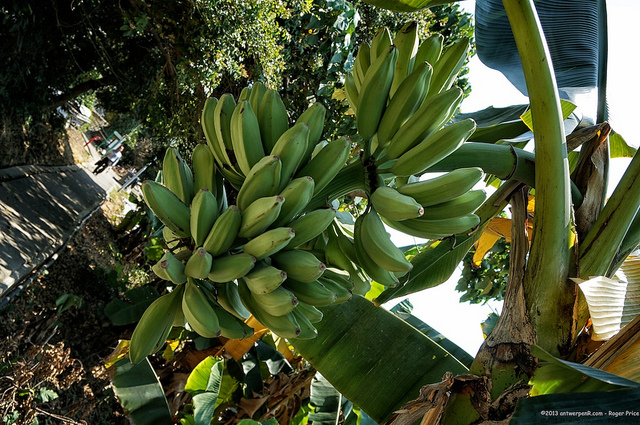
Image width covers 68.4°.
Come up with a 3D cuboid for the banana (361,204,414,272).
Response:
[{"bbox_3d":[0.326,0.126,2.402,0.082,0.126,0.324,-33,-97,34],"label":"banana"}]

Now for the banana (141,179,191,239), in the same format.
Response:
[{"bbox_3d":[-0.806,-0.037,2.540,0.091,0.171,0.496,58,-7,15],"label":"banana"}]

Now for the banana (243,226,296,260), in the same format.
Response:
[{"bbox_3d":[-0.252,0.150,2.448,0.308,0.107,0.110,-30,-24,3],"label":"banana"}]

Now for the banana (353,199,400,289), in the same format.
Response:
[{"bbox_3d":[0.290,0.165,2.441,0.103,0.162,0.457,-24,-90,39],"label":"banana"}]

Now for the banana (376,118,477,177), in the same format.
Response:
[{"bbox_3d":[0.534,-0.346,2.464,0.559,0.207,0.132,-36,-85,1],"label":"banana"}]

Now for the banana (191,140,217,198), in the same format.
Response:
[{"bbox_3d":[-0.667,-0.297,2.676,0.127,0.154,0.446,-1,1,-16],"label":"banana"}]

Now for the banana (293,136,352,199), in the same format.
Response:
[{"bbox_3d":[0.043,-0.312,2.610,0.174,0.199,0.544,16,-6,-19],"label":"banana"}]

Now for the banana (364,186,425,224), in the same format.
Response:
[{"bbox_3d":[0.384,-0.055,2.474,0.278,0.117,0.144,26,-73,23],"label":"banana"}]

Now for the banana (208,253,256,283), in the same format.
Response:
[{"bbox_3d":[-0.449,0.280,2.448,0.227,0.093,0.132,-16,-94,10],"label":"banana"}]

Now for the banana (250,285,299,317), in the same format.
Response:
[{"bbox_3d":[-0.264,0.458,2.485,0.310,0.136,0.105,5,-39,33],"label":"banana"}]

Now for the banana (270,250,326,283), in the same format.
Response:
[{"bbox_3d":[-0.157,0.274,2.510,0.375,0.148,0.121,14,-91,33],"label":"banana"}]

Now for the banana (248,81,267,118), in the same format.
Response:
[{"bbox_3d":[-0.352,-0.626,2.608,0.102,0.177,0.052,5,-5,-21],"label":"banana"}]

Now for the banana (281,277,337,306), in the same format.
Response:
[{"bbox_3d":[-0.057,0.419,2.550,0.356,0.134,0.123,10,-82,14],"label":"banana"}]

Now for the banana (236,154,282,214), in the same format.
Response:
[{"bbox_3d":[-0.306,-0.200,2.567,0.222,0.186,0.492,4,-14,-13],"label":"banana"}]

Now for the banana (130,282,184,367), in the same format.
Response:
[{"bbox_3d":[-0.850,0.577,2.497,0.164,0.529,0.158,20,-65,-3],"label":"banana"}]

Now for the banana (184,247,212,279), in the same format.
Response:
[{"bbox_3d":[-0.591,0.278,2.416,0.134,0.070,0.182,-2,-60,7],"label":"banana"}]

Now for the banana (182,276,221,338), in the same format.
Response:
[{"bbox_3d":[-0.627,0.506,2.472,0.353,0.118,0.127,59,-31,5],"label":"banana"}]

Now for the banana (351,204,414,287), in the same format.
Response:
[{"bbox_3d":[0.312,0.174,2.453,0.460,0.171,0.131,61,-32,3],"label":"banana"}]

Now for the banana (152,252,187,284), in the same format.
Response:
[{"bbox_3d":[-0.768,0.288,2.512,0.180,0.285,0.110,-21,-99,1],"label":"banana"}]

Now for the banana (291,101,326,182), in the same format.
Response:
[{"bbox_3d":[-0.064,-0.399,2.710,0.185,0.207,0.592,43,-20,8],"label":"banana"}]

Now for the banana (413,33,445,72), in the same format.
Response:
[{"bbox_3d":[0.614,-0.904,2.673,0.093,0.295,0.059,32,-4,0],"label":"banana"}]

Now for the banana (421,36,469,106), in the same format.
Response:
[{"bbox_3d":[0.711,-0.884,2.790,0.184,0.594,0.182,-8,-57,20],"label":"banana"}]

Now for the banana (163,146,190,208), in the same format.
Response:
[{"bbox_3d":[-0.769,-0.208,2.591,0.124,0.107,0.364,-25,-103,38],"label":"banana"}]

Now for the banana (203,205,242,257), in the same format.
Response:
[{"bbox_3d":[-0.492,0.105,2.461,0.115,0.130,0.338,25,-68,-10],"label":"banana"}]
